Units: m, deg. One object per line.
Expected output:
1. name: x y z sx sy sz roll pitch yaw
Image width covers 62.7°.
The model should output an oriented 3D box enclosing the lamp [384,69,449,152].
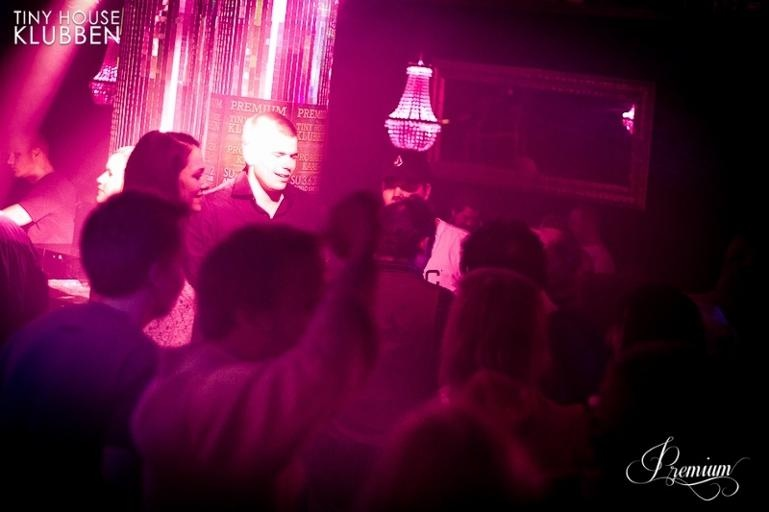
1. lamp: 0.249 -1.232 5.129 0.454 0.749 0.474 4 7 -9

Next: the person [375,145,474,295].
1. person: 0.386 -0.321 5.191 0.543 1.023 1.041 -3 11 1
